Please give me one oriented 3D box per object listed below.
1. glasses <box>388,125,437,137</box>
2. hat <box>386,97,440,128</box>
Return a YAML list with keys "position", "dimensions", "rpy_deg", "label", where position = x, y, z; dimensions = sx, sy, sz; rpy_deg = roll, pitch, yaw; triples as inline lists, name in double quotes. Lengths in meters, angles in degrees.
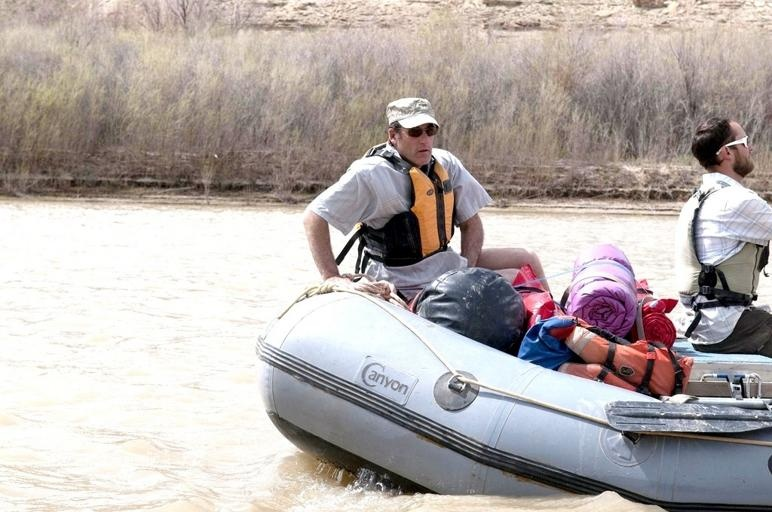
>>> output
- position: [0.333, -1.433, 15.444]
  dimensions: [0.534, 0.144, 0.129]
  rpy_deg: [-1, 9, -4]
  label: "glasses"
- position: [0.308, -1.644, 15.504]
  dimensions: [0.577, 0.338, 0.363]
  rpy_deg: [5, 10, 35]
  label: "hat"
